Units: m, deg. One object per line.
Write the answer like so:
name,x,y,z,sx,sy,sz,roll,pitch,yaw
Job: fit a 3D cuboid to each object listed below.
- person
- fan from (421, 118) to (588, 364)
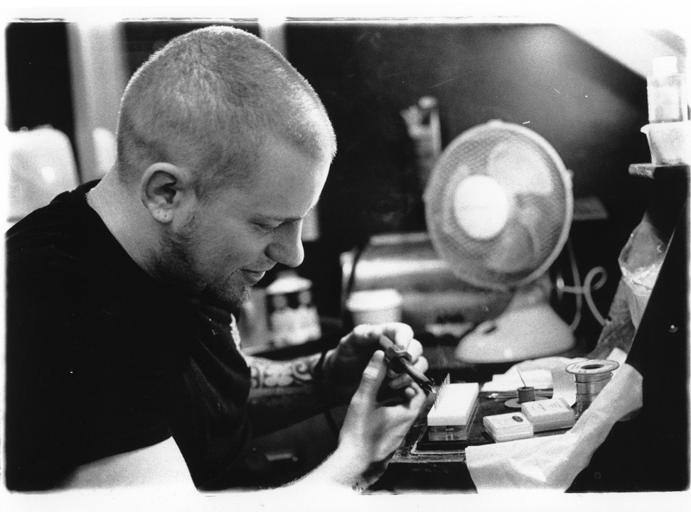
person,-0.376,-0.021,2.789,1.138,1.168,1.379,8,19,-6
fan,0.474,-0.051,2.560,0.426,0.720,0.451,-7,9,-8
